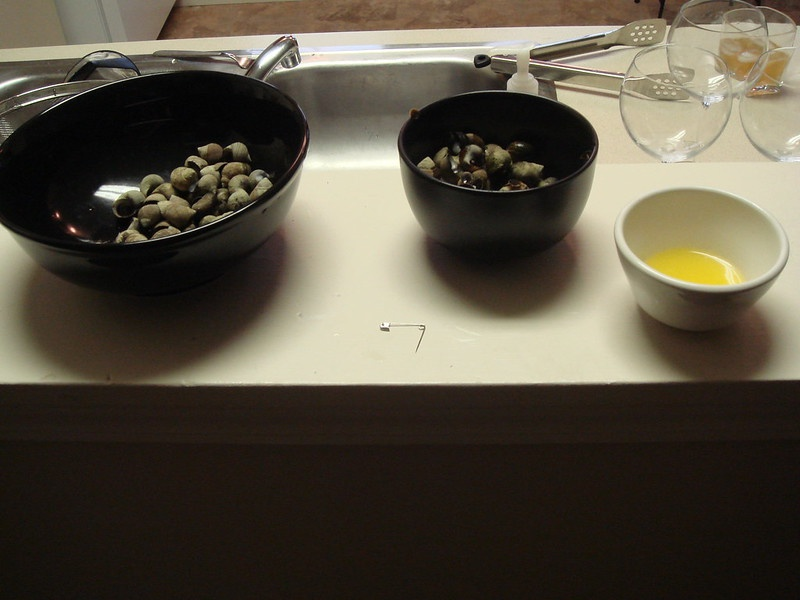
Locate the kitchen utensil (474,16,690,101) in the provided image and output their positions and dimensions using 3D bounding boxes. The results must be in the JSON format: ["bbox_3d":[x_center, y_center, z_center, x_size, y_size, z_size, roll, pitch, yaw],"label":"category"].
[{"bbox_3d":[0.288,-0.385,1.066,0.372,0.066,0.155,3,49,3],"label":"kitchen utensil"}]

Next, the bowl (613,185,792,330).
[{"bbox_3d":[0.307,-0.043,0.666,0.163,0.075,0.162,-5,44,5],"label":"bowl"}]

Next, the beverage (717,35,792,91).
[{"bbox_3d":[0.512,-0.344,0.921,0.084,0.066,0.098,-8,39,-3],"label":"beverage"}]

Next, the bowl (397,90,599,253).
[{"bbox_3d":[0.111,-0.118,0.771,0.228,0.121,0.222,-2,43,2],"label":"bowl"}]
